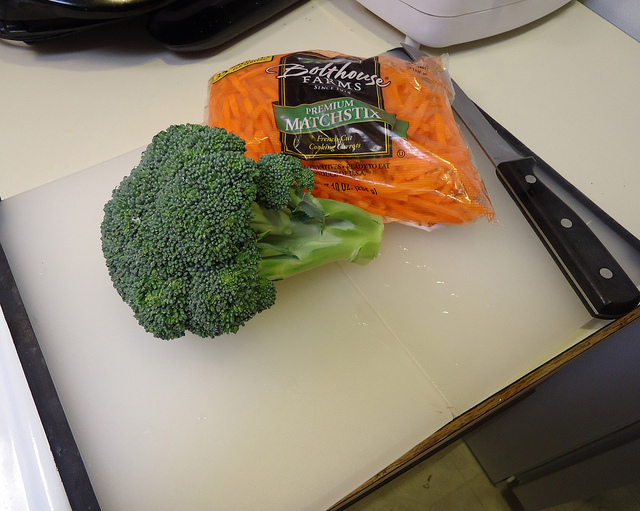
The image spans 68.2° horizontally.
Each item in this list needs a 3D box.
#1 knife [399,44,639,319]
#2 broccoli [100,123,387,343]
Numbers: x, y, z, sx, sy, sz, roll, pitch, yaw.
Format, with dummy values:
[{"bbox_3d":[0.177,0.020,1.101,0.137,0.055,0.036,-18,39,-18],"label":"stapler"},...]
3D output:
[{"bbox_3d":[0.344,-0.251,1.013,0.116,0.072,0.848,-19,62,-8],"label":"knife"},{"bbox_3d":[-0.143,-0.010,0.790,0.438,0.216,0.352,21,73,10],"label":"broccoli"}]
